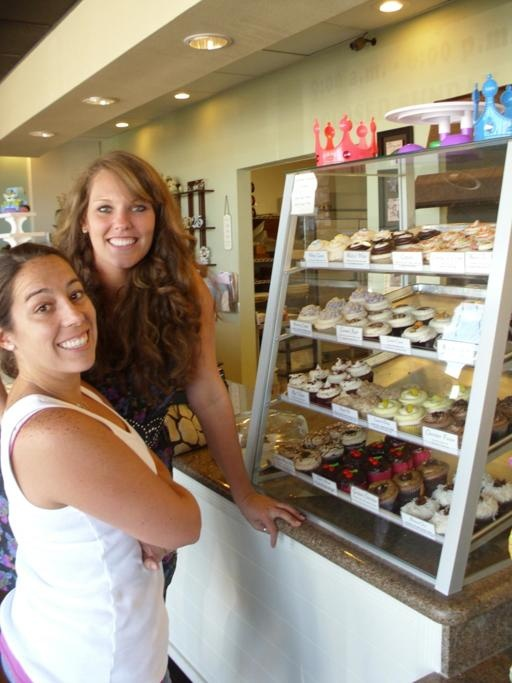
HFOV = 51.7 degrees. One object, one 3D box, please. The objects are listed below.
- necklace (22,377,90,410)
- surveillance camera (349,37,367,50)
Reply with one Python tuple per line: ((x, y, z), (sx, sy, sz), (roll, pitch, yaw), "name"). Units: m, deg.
((-0.340, 0.097, 0.955), (0.061, 0.020, 0.058), (14, 9, 12), "necklace")
((0.753, -2.182, 3.899), (0.095, 0.078, 0.029), (-30, 36, -32), "surveillance camera")
